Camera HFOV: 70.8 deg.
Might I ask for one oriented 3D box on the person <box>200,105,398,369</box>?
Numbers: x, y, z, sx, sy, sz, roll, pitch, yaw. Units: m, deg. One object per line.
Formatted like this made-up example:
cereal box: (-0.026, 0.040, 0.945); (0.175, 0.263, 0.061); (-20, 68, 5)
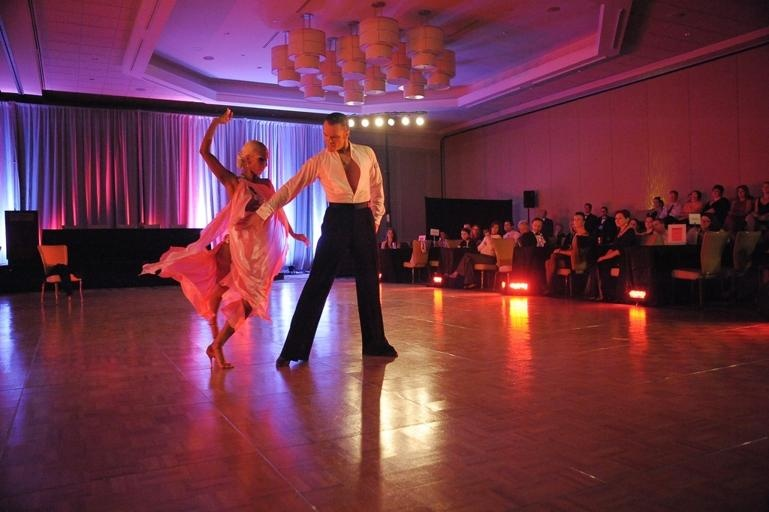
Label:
person: (-0.472, -0.156, 4.827); (1.107, 2.165, 0.448); (-3, 9, -13)

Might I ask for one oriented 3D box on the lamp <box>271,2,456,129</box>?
lamp: (-0.407, -3.738, 10.196); (3.176, 1.414, 2.287); (1, 8, 9)

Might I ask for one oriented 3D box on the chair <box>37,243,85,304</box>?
chair: (-5.727, 0.305, 9.625); (0.508, 0.960, 0.959); (-7, 10, -36)
